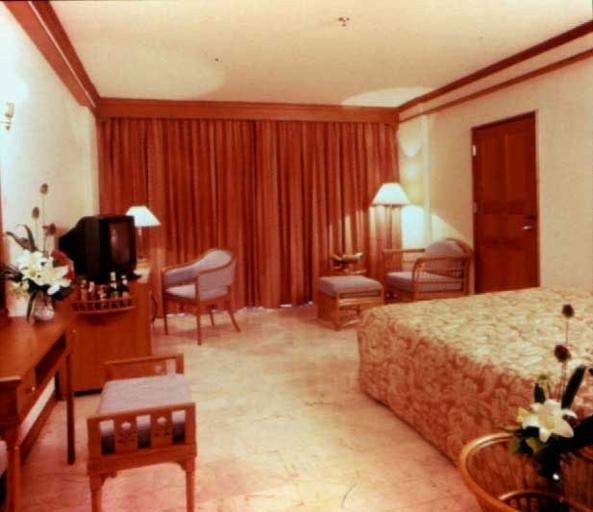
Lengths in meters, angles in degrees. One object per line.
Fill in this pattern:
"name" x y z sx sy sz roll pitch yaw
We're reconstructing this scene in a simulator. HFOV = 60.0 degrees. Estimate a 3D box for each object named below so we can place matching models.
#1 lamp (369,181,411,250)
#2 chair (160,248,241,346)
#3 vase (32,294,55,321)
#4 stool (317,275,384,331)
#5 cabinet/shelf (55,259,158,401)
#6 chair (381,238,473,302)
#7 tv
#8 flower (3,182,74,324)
"lamp" 1.239 -0.532 6.927 0.491 0.908 0.629 0 9 9
"chair" -1.110 0.387 5.645 0.813 0.880 1.121 -10 13 -44
"vase" -1.421 0.277 2.850 0.110 0.152 0.142 -6 10 -28
"stool" 0.558 0.467 5.721 0.603 0.532 0.615 -2 1 -21
"cabinet/shelf" -1.472 0.506 4.110 0.685 0.994 1.182 -2 3 -14
"chair" 1.480 0.181 6.054 0.797 1.011 0.827 0 2 -14
"tv" -1.587 -0.121 4.360 0.594 0.604 0.572 2 7 3
"flower" -1.631 0.008 3.176 0.400 0.884 1.128 -6 10 -24
